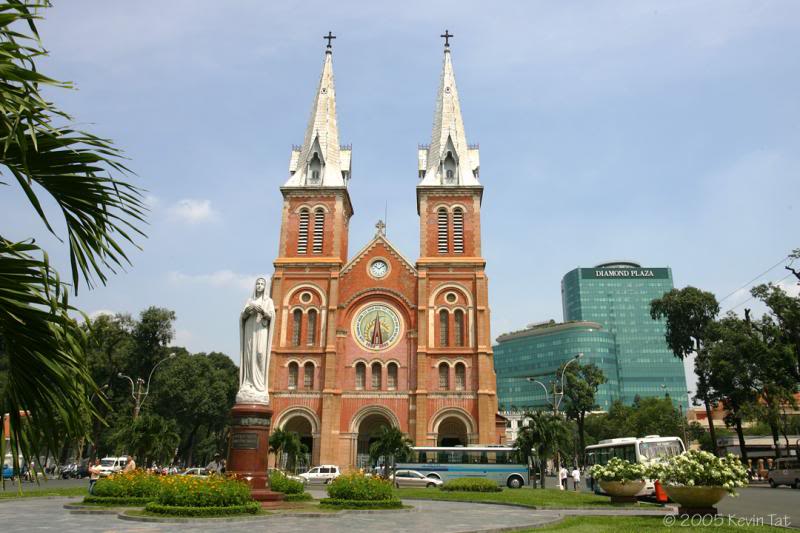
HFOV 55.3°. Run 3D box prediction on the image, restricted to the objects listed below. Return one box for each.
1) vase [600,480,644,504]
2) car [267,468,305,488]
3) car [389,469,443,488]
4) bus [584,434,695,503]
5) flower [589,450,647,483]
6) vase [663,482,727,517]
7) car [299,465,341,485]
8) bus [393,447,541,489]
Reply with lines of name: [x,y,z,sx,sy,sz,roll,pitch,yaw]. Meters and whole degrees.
vase: [8.696,8.786,29.830,1.110,0.843,1.495,12,-20,-38]
car: [-4.334,7.980,28.848,1.070,0.616,4.030,1,-16,-7]
car: [0.955,12.681,45.392,3.075,1.020,1.412,-2,-10,6]
bus: [12.413,11.048,42.056,3.026,3.218,8.306,1,-15,-7]
flower: [8.468,7.540,29.642,1.588,0.877,1.563,-9,-24,21]
vase: [9.171,7.305,23.848,1.998,0.966,0.992,-3,-11,9]
car: [-4.832,12.753,47.028,2.150,1.149,3.881,0,-16,0]
bus: [4.294,12.933,47.968,9.105,2.758,2.996,-1,-11,4]
